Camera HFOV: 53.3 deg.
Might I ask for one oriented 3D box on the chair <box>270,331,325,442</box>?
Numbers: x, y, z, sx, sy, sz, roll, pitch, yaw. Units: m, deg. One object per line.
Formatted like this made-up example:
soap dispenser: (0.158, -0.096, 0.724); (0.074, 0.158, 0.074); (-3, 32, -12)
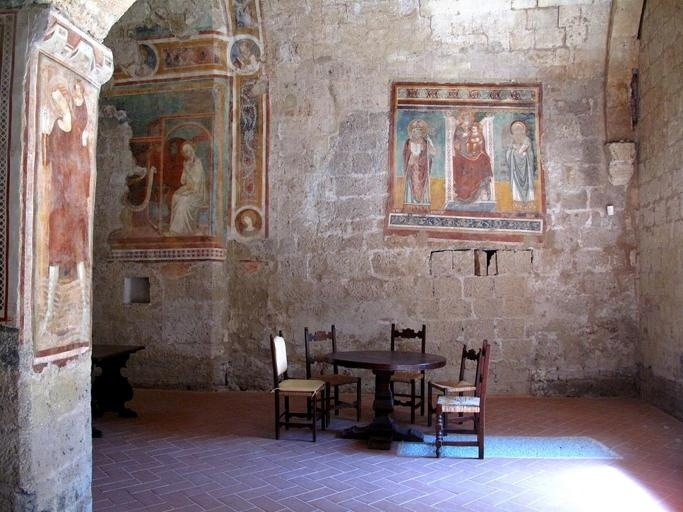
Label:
chair: (-0.443, 1.390, 7.306); (0.656, 1.036, 0.665); (-1, -3, 15)

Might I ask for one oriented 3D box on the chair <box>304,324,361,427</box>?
chair: (-0.120, 1.399, 8.002); (0.568, 1.054, 0.615); (2, -4, -43)

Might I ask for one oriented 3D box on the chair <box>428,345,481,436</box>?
chair: (1.227, 1.423, 7.287); (0.554, 0.868, 0.580); (-2, 6, 2)

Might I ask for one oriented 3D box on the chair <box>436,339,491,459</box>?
chair: (1.204, 1.412, 6.795); (0.529, 1.055, 0.594); (0, -5, 11)
